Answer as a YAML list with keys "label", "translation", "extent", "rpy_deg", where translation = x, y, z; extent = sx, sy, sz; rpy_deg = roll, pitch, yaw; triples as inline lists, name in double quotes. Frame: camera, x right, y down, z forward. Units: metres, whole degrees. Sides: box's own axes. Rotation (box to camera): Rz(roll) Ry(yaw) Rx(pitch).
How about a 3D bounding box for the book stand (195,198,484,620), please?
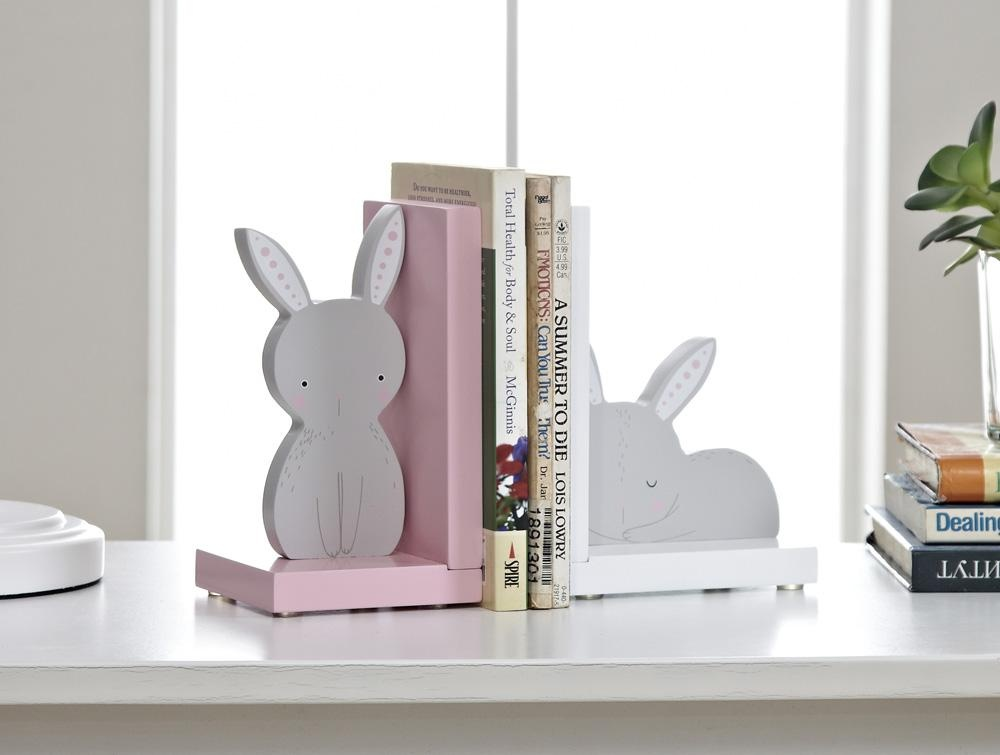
- label: "book stand"
  translation: [-0.175, 0.051, 1.525]
  extent: [0.334, 0.600, 0.347]
  rpy_deg: [2, -4, -20]
